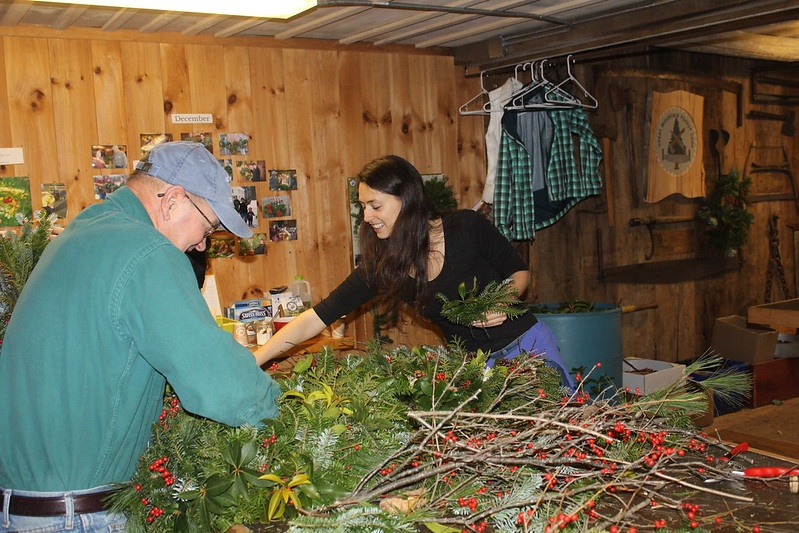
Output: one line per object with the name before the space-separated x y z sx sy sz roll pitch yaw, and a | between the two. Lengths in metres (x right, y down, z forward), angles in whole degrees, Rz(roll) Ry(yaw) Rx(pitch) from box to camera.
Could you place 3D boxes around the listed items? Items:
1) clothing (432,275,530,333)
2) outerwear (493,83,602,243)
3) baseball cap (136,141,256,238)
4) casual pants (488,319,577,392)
clothing | 0.363 0.127 2.592 0.298 0.128 0.286 -4 -10 -9
outerwear | 1.149 -0.842 4.940 1.353 1.387 0.199 -13 15 -21
baseball cap | -0.633 -0.280 2.072 0.386 0.199 0.238 27 4 -23
casual pants | 0.619 0.383 2.850 0.353 0.181 0.336 10 -23 -8
